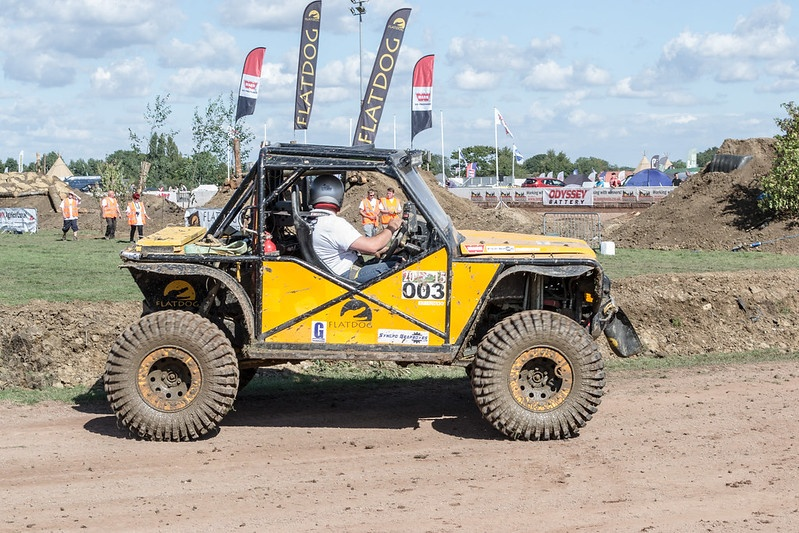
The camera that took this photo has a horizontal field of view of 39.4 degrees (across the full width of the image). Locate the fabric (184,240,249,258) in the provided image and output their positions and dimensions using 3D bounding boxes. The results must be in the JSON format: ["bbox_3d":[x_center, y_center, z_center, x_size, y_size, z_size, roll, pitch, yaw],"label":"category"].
[{"bbox_3d":[-2.709,-0.229,16.234,0.669,0.163,0.328,1,-1,-2],"label":"fabric"}]

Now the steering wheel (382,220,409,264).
[{"bbox_3d":[-0.056,-0.367,16.281,0.136,0.497,0.511,24,-28,4],"label":"steering wheel"}]

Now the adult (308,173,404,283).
[{"bbox_3d":[-0.643,-0.606,16.726,1.555,1.755,1.334,-7,7,-18],"label":"adult"}]

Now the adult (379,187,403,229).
[{"bbox_3d":[-0.270,-1.330,29.120,0.614,1.347,0.452,-1,14,-13],"label":"adult"}]

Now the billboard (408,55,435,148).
[{"bbox_3d":[0.745,-5.927,38.615,0.674,2.689,0.870,2,4,2],"label":"billboard"}]

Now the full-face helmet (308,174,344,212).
[{"bbox_3d":[-1.047,-1.091,16.520,0.439,0.513,0.554,7,3,6],"label":"full-face helmet"}]

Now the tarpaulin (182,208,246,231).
[{"bbox_3d":[-3.303,-0.838,19.767,1.012,0.278,1.011,1,10,-6],"label":"tarpaulin"}]

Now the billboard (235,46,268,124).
[{"bbox_3d":[-4.711,-5.746,34.811,0.787,2.393,2.597,2,4,-8],"label":"billboard"}]

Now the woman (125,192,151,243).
[{"bbox_3d":[-7.897,-1.451,33.481,0.678,1.446,0.529,-3,9,-26],"label":"woman"}]
